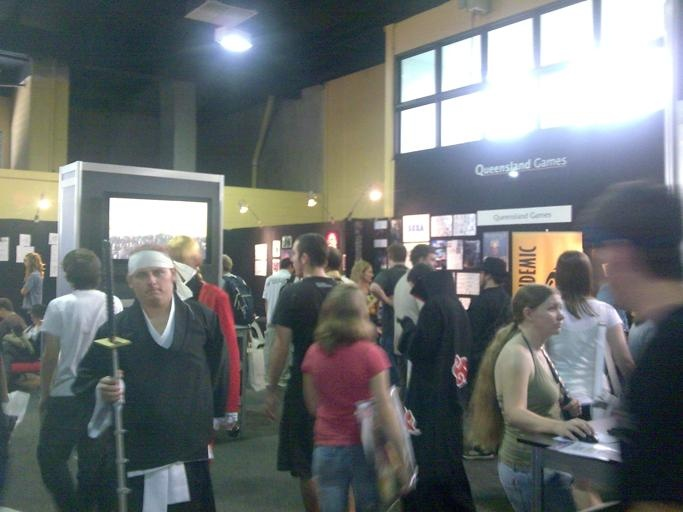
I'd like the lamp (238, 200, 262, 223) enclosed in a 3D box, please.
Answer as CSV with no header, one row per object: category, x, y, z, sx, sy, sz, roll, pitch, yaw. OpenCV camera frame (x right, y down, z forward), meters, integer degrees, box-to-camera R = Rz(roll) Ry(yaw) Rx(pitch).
lamp,-2.119,-0.973,13.899,0.461,0.437,0.943,0,0,5

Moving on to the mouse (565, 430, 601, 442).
mouse,1.277,0.932,3.276,0.101,0.033,0.056,-2,2,12

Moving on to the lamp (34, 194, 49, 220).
lamp,-5.489,-0.911,11.390,0.193,0.475,0.377,0,0,9

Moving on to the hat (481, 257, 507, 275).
hat,1.261,0.081,5.197,0.121,0.089,0.170,3,4,-16

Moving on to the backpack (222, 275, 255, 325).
backpack,-1.122,0.493,6.794,0.284,0.514,0.391,-14,1,8

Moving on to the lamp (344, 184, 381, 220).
lamp,0.449,-1.156,13.379,0.436,0.601,1.385,0,0,-25

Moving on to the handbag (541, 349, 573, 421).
handbag,1.269,0.765,3.676,0.101,0.320,0.228,-31,7,10
